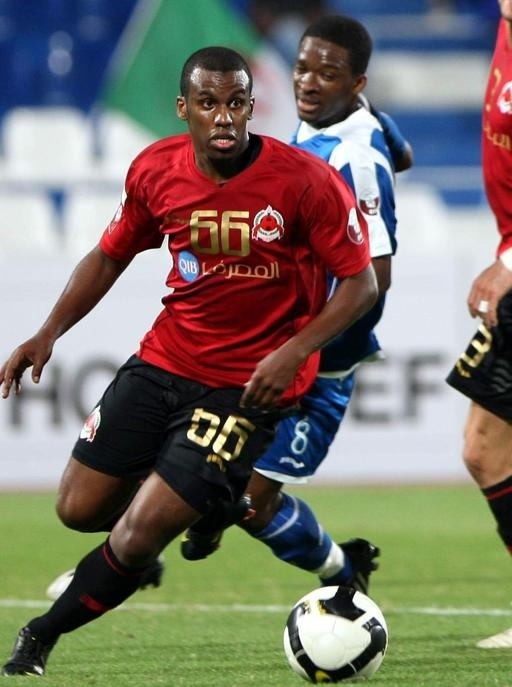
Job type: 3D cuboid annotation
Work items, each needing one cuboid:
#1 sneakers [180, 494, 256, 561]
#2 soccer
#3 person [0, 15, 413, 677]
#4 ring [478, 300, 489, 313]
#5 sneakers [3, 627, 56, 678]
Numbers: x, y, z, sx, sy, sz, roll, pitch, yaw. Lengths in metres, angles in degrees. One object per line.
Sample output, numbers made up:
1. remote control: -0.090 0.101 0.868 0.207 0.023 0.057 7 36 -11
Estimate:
1. sneakers: -0.136 0.541 2.427 0.130 0.172 0.376 44 -19 -1
2. soccer: 0.201 0.749 2.203 0.237 0.202 0.258 9 -16 34
3. person: -0.155 0.061 2.496 1.025 1.773 1.060 6 9 5
4. ring: 0.695 -0.115 2.532 0.036 0.039 0.027 15 18 28
5. sneakers: -0.610 0.821 2.230 0.067 0.069 0.184 31 1 -5
